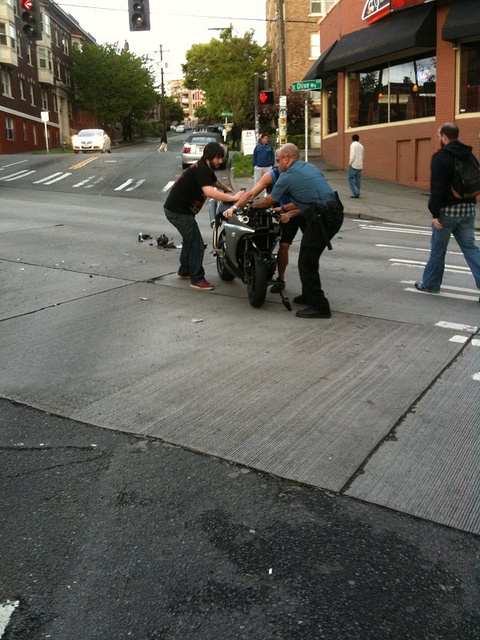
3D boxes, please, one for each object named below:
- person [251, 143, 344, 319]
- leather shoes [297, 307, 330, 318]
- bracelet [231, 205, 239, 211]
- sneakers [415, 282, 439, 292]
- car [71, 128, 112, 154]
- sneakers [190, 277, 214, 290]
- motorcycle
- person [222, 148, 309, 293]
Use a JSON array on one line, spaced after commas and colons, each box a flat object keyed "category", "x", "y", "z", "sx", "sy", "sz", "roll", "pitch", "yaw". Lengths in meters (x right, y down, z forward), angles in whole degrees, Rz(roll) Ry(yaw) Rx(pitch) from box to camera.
[{"category": "person", "x": 0.799, "y": -1.104, "z": 5.743, "sx": 0.842, "sy": 2.104, "sz": 0.481, "roll": 3, "pitch": 9, "yaw": 16}, {"category": "leather shoes", "x": 0.902, "y": -0.145, "z": 5.742, "sx": 0.372, "sy": 0.162, "sz": 0.163, "roll": 8, "pitch": 26, "yaw": 7}, {"category": "bracelet", "x": -0.062, "y": -1.465, "z": 6.079, "sx": 0.074, "sy": 0.051, "sz": 0.072, "roll": -4, "pitch": -25, "yaw": -36}, {"category": "sneakers", "x": 2.724, "y": -0.487, "z": 6.871, "sx": 0.115, "sy": 0.111, "sz": 0.266, "roll": -14, "pitch": 27, "yaw": -24}, {"category": "car", "x": -11.467, "y": -14.252, "z": 37.097, "sx": 1.812, "sy": 1.307, "sz": 3.067, "roll": -2, "pitch": 22, "yaw": -3}, {"category": "sneakers", "x": -0.554, "y": -0.551, "z": 6.902, "sx": 0.320, "sy": 0.140, "sz": 0.147, "roll": 7, "pitch": 17, "yaw": 21}, {"category": "motorcycle", "x": 0.004, "y": -1.278, "z": 6.839, "sx": 0.739, "sy": 1.393, "sz": 2.505, "roll": 7, "pitch": 17, "yaw": -18}, {"category": "person", "x": -0.022, "y": -1.319, "z": 6.770, "sx": 1.096, "sy": 1.477, "sz": 2.553, "roll": 0, "pitch": 24, "yaw": -16}]
